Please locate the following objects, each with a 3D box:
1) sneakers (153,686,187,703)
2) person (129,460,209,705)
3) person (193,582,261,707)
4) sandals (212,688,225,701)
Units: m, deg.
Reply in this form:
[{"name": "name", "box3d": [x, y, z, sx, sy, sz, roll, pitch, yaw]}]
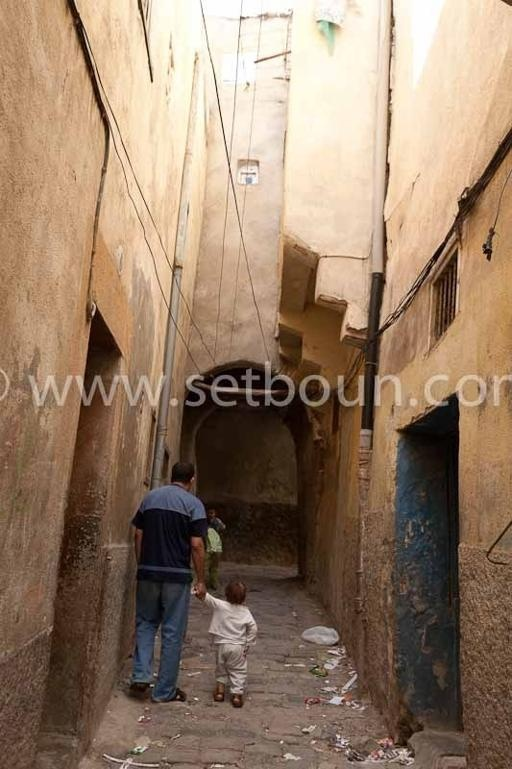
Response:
[{"name": "sneakers", "box3d": [-0.596, 2.193, 4.027, 0.257, 0.074, 0.129, 21, -20, -39]}, {"name": "person", "box3d": [-0.672, 1.414, 4.296, 0.569, 1.690, 0.469, 7, -12, -14]}, {"name": "person", "box3d": [-0.237, 1.944, 4.382, 0.394, 1.028, 0.306, 5, 13, 4]}, {"name": "sandals", "box3d": [-0.273, 2.279, 4.246, 0.087, 0.094, 0.220, 6, -15, -1]}]
